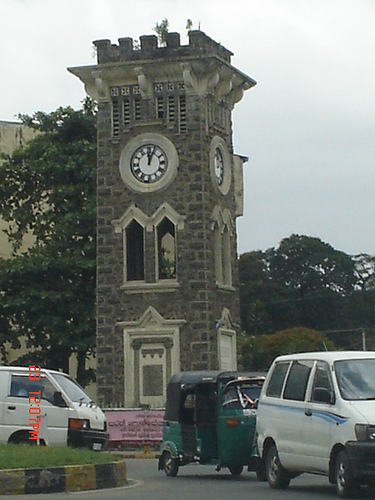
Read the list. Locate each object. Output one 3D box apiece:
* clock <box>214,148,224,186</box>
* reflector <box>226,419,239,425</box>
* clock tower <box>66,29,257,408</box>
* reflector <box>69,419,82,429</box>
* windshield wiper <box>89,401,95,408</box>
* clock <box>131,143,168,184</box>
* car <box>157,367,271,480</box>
[{"bbox_3d":[0.971,-2.614,34.770,0.047,1.163,1.078,-4,2,19],"label":"clock"},{"bbox_3d":[0.816,3.076,20.156,0.254,0.104,0.047,-9,-16,33],"label":"reflector"},{"bbox_3d":[-0.693,-0.973,33.739,4.444,11.610,3.295,2,-13,-5],"label":"clock tower"},{"bbox_3d":[-2.132,3.319,21.536,0.234,0.162,0.052,3,-13,-11],"label":"reflector"},{"bbox_3d":[-1.902,3.077,22.528,0.094,0.136,0.035,13,-20,-36],"label":"windshield wiper"},{"bbox_3d":[-1.098,-2.650,33.939,0.928,1.040,0.078,-17,-22,28],"label":"clock"},{"bbox_3d":[0.573,3.327,21.383,1.519,1.907,2.767,6,-11,-29],"label":"car"}]
